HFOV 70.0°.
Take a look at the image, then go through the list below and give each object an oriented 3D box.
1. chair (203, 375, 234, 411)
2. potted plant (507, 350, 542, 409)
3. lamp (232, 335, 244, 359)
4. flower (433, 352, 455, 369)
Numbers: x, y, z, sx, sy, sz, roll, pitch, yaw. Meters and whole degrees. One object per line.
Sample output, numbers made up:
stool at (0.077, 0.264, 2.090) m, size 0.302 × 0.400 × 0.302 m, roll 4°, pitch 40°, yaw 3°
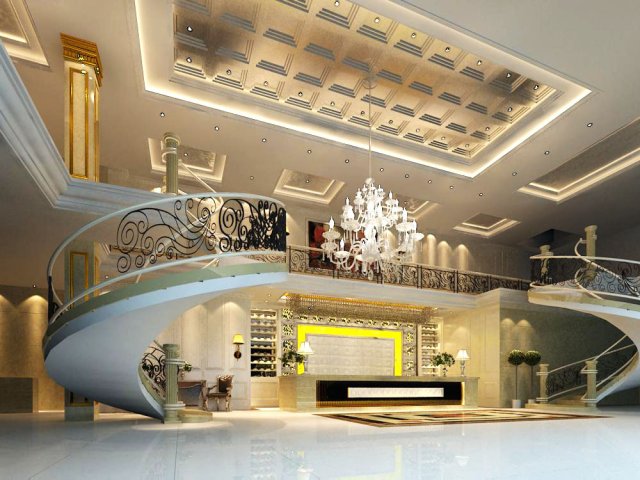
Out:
chair at (-2.844, 4.353, 13.220) m, size 0.823 × 1.191 × 0.828 m, roll -5°, pitch -23°, yaw 13°
potted plant at (6.617, 4.401, 14.742) m, size 1.313 × 1.771 × 0.623 m, roll 5°, pitch -11°, yaw -24°
lamp at (-2.477, 3.196, 13.848) m, size 0.300 × 0.726 × 0.424 m, roll 2°, pitch -11°, yaw -11°
flower at (4.052, 3.800, 14.963) m, size 0.680 × 0.564 × 0.724 m, roll -1°, pitch -5°, yaw 19°
